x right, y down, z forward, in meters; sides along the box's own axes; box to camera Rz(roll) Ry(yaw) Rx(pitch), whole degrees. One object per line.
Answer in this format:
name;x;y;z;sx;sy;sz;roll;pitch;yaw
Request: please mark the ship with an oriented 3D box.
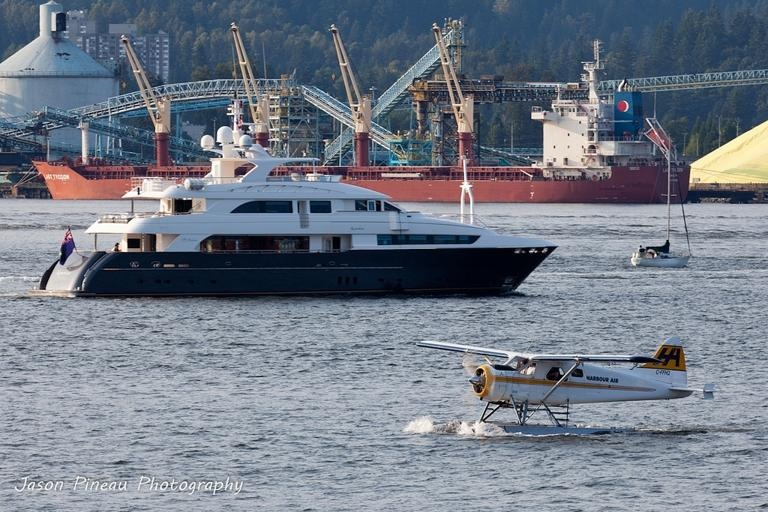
ship;-2.374;-17.913;284.361;118.207;29.920;47.503;0;3;-9
